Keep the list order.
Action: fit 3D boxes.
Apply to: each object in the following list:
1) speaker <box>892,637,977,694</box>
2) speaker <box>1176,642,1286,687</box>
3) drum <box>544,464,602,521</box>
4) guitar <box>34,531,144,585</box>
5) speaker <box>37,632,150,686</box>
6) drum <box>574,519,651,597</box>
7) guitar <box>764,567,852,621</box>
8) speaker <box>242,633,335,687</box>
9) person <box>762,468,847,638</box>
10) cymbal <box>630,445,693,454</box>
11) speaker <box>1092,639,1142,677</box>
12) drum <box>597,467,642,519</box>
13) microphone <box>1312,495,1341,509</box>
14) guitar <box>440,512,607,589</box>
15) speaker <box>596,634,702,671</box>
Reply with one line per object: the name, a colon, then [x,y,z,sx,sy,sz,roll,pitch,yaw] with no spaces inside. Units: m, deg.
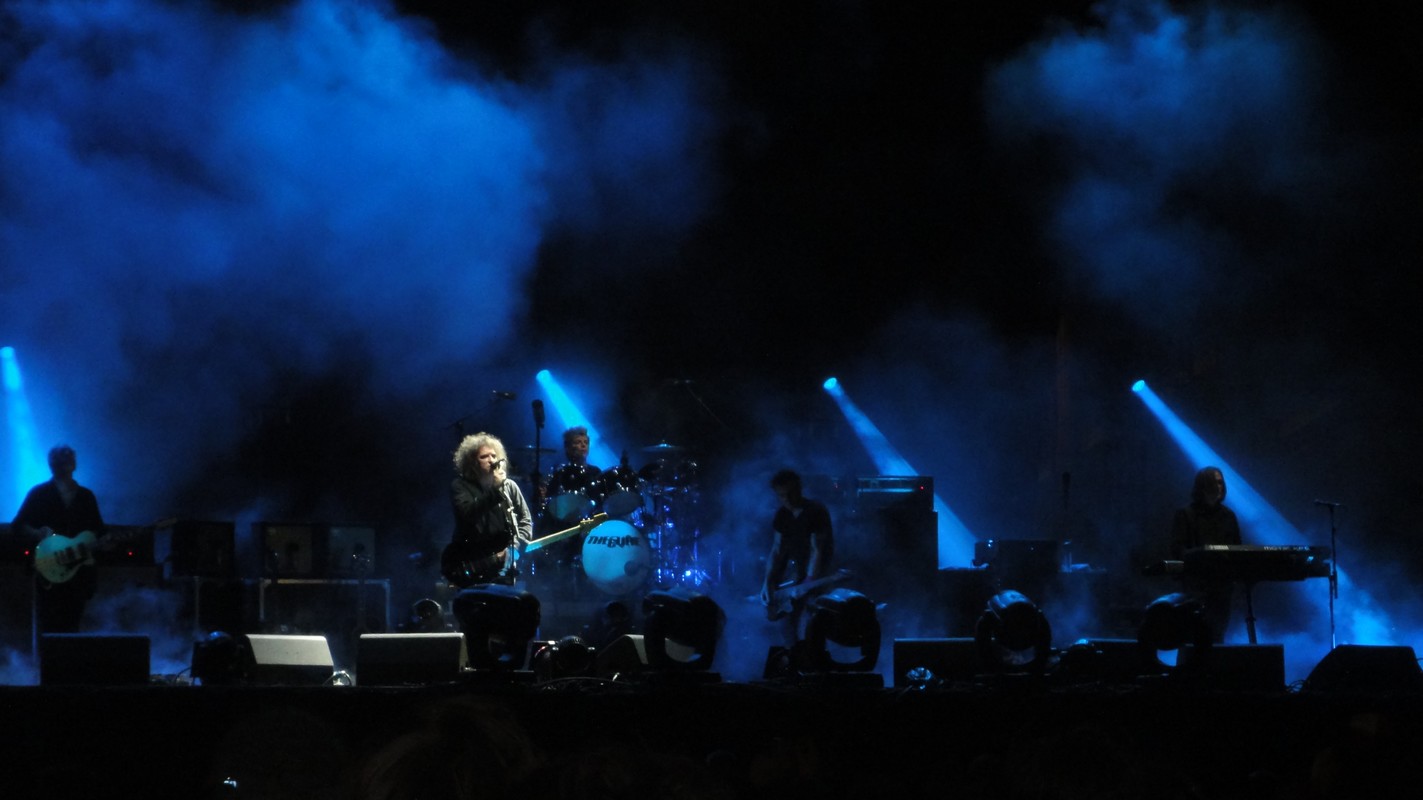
speaker: [2.298,2.782,15.148,0.968,0.518,0.463,2,-7,-10]
speaker: [5.426,2.761,14.751,0.966,0.373,0.467,0,-1,2]
drum: [-1.813,1.120,18.066,0.791,0.678,0.725,1,-6,14]
guitar: [-7.407,1.864,16.882,1.032,0.621,0.295,4,-11,-33]
speaker: [-6.416,2.688,14.875,1.090,0.516,0.226,-2,-9,3]
drum: [-1.170,1.860,17.416,0.811,0.986,0.600,2,0,-7]
guitar: [1.075,2.283,16.688,1.163,0.526,0.487,-9,-11,39]
speaker: [-4.460,2.750,15.219,1.045,0.527,0.350,-5,-9,20]
person: [1.026,2.155,17.011,0.949,2.703,1.015,-4,3,6]
cymbal: [-0.628,0.632,18.770,0.397,0.179,0.526,7,-12,-44]
speaker: [4.282,2.695,14.930,0.527,0.378,0.125,-3,-9,5]
drum: [-1.160,1.145,17.834,0.617,0.539,0.547,-5,30,-2]
microphone: [7.776,1.282,18.064,0.542,0.145,0.117,11,-6,-29]
guitar: [-1.932,1.694,15.942,2.067,0.576,0.654,-12,8,-17]
speaker: [-0.759,2.715,15.200,0.758,0.432,0.517,4,-8,-22]
